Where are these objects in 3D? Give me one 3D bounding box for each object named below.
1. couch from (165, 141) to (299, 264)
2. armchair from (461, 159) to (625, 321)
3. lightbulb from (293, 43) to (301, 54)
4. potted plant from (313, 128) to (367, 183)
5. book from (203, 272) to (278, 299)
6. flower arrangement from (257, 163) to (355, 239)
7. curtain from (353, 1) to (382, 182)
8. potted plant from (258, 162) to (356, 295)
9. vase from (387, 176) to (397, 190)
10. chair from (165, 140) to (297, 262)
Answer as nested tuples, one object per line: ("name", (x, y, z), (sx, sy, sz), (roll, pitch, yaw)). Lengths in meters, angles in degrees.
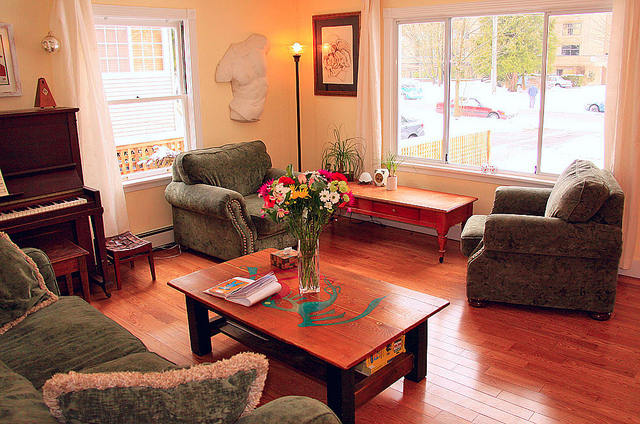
("couch", (-0.910, -0.157, 5.822), (1.331, 1.173, 1.757), (12, 20, 28))
("armchair", (2.246, 0.193, 4.673), (1.690, 1.148, 1.642), (-19, 21, -40))
("lightbulb", (-0.330, -2.276, 6.402), (0.108, 0.141, 0.138), (-3, 20, -3))
("potted plant", (0.288, -0.746, 6.431), (0.508, 0.636, 0.578), (2, -7, -7))
("book", (-0.651, 0.588, 3.548), (0.293, 0.079, 0.287), (9, 17, 28))
("flower arrangement", (-0.137, -0.013, 3.597), (0.732, 0.620, 0.659), (-6, 22, -13))
("curtain", (0.636, -1.591, 6.067), (0.366, 2.204, 0.521), (0, 21, 4))
("potted plant", (0.006, 0.039, 4.002), (0.977, 1.175, 0.986), (-3, 12, -5))
("vase", (0.905, -0.355, 5.820), (0.139, 0.158, 0.158), (9, 15, 37))
("chair", (-0.891, -0.147, 5.729), (1.327, 1.194, 1.582), (15, 23, 37))
